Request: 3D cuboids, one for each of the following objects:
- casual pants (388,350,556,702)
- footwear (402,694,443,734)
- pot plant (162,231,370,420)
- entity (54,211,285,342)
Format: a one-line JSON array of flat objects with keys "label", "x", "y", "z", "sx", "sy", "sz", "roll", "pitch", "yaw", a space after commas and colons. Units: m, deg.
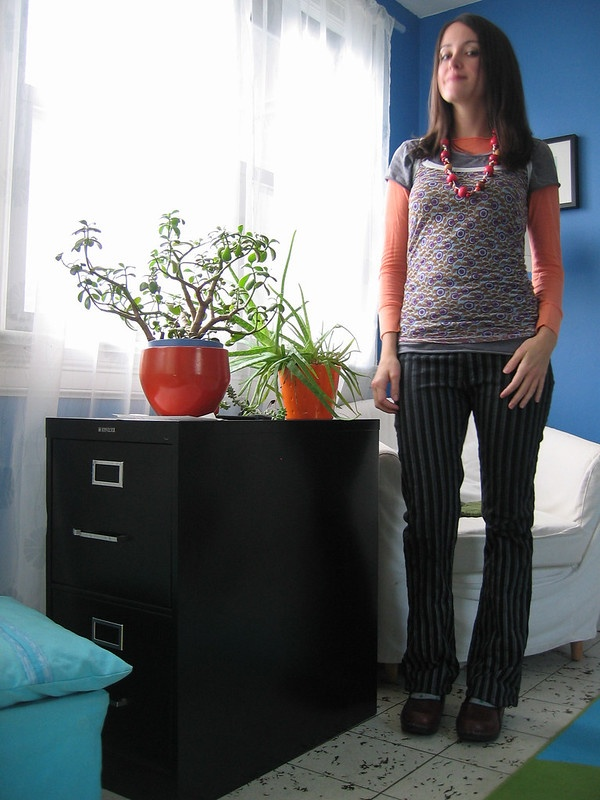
[{"label": "casual pants", "x": 0.339, "y": 0.248, "z": 1.294, "sx": 0.289, "sy": 0.692, "sz": 0.139, "roll": 0, "pitch": -5, "yaw": 7}, {"label": "footwear", "x": 0.234, "y": 0.606, "z": 1.251, "sx": 0.075, "sy": 0.054, "sz": 0.059, "roll": 0, "pitch": -5, "yaw": 8}, {"label": "pot plant", "x": -0.039, "y": -0.138, "z": 1.685, "sx": 0.454, "sy": 0.521, "sz": 0.527, "roll": 4, "pitch": 1, "yaw": 38}, {"label": "entity", "x": -0.258, "y": -0.237, "z": 1.387, "sx": 0.360, "sy": 0.278, "sz": 0.415, "roll": 10, "pitch": 7, "yaw": 8}]
